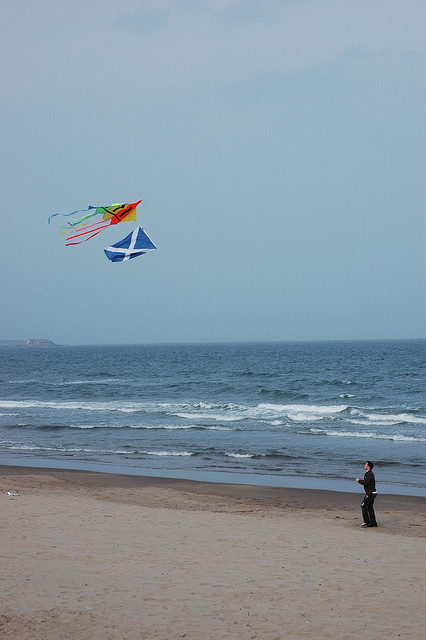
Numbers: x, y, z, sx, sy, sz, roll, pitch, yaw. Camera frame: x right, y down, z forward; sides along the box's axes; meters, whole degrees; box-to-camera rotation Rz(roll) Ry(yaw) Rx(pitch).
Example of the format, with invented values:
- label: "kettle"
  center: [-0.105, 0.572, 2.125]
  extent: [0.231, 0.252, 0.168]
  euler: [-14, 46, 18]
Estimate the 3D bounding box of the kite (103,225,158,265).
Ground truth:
- label: "kite"
  center: [-1.341, -1.247, 16.750]
  extent: [0.815, 0.511, 0.301]
  euler: [-1, 0, 32]
